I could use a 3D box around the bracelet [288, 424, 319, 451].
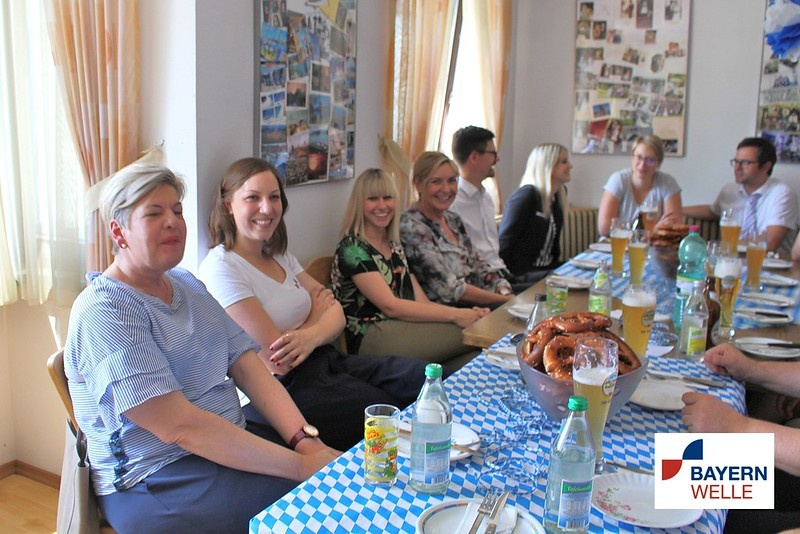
[{"bbox_3d":[-0.344,0.597,1.995,0.062,0.103,0.102,45,10,28],"label":"bracelet"}]

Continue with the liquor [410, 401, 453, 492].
[{"bbox_3d":[0.075,0.443,1.361,0.096,0.214,0.083,-1,16,3],"label":"liquor"}]

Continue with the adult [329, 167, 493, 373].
[{"bbox_3d":[0.056,0.123,2.938,0.803,1.215,0.550,8,15,20],"label":"adult"}]

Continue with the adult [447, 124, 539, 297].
[{"bbox_3d":[0.563,-0.340,3.732,0.599,1.180,0.662,-4,17,-27],"label":"adult"}]

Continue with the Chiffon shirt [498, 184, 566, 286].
[{"bbox_3d":[0.994,-0.322,4.264,0.746,0.734,0.397,-13,18,-37],"label":"Chiffon shirt"}]

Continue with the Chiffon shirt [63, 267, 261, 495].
[{"bbox_3d":[-0.765,0.394,1.794,0.386,0.577,0.694,-4,4,11],"label":"Chiffon shirt"}]

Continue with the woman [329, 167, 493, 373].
[{"bbox_3d":[0.002,-0.103,3.361,1.077,1.548,0.693,0,16,8],"label":"woman"}]

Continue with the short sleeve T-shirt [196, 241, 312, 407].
[{"bbox_3d":[-0.668,0.137,2.548,0.423,0.674,0.701,0,28,4],"label":"short sleeve T-shirt"}]

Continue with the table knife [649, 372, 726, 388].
[{"bbox_3d":[0.942,0.376,1.838,0.154,0.022,0.018,8,8,11],"label":"table knife"}]

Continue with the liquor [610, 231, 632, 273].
[{"bbox_3d":[1.119,-0.066,2.896,0.114,0.223,0.116,-15,-8,43],"label":"liquor"}]

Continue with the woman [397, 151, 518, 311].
[{"bbox_3d":[0.297,-0.305,3.571,0.884,1.192,0.774,2,17,17],"label":"woman"}]

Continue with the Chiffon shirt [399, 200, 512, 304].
[{"bbox_3d":[0.358,-0.085,3.263,0.640,0.594,0.535,-4,12,11],"label":"Chiffon shirt"}]

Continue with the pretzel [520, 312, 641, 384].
[{"bbox_3d":[0.454,0.206,1.552,0.208,0.068,0.217,-19,28,-26],"label":"pretzel"}]

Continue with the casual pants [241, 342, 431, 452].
[{"bbox_3d":[-0.236,0.443,2.426,0.774,0.309,0.463,23,-2,-18],"label":"casual pants"}]

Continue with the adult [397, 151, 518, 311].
[{"bbox_3d":[0.343,-0.201,3.250,0.671,0.903,0.579,4,20,17],"label":"adult"}]

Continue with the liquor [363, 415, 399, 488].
[{"bbox_3d":[-0.044,0.450,1.391,0.088,0.170,0.094,-3,16,-3],"label":"liquor"}]

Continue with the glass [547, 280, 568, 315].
[{"bbox_3d":[0.609,0.133,2.177,0.078,0.129,0.079,4,-1,45],"label":"glass"}]
